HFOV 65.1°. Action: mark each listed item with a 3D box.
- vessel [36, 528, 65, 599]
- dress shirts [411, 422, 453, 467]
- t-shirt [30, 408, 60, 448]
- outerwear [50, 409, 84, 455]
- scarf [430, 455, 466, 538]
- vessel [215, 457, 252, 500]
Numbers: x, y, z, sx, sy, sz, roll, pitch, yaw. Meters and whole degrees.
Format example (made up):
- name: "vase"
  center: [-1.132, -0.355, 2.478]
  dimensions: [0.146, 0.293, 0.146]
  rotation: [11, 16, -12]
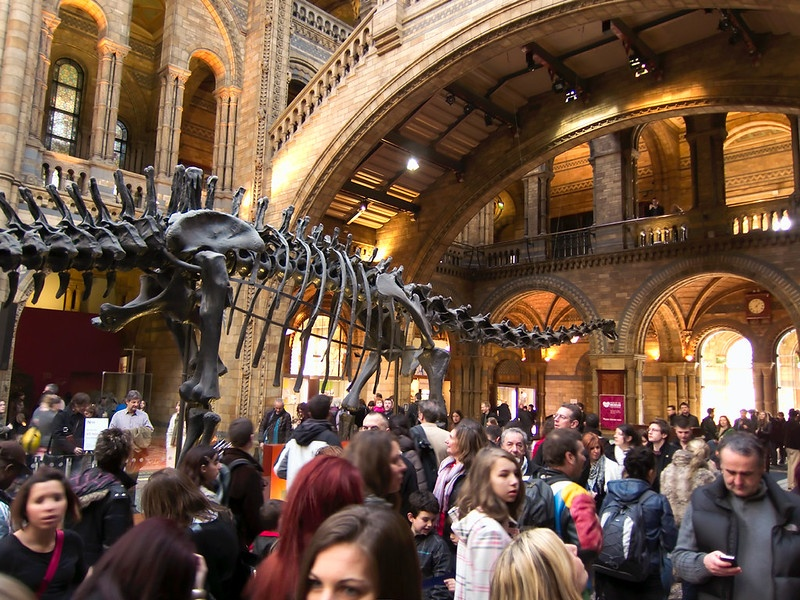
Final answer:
- name: "vessel"
  center: [-1.994, 1.501, 3.612]
  dimensions: [0.161, 0.270, 0.067]
  rotation: [-9, -25, 41]
- name: "dress shirts"
  center: [0.274, 1.263, 5.524]
  dimensions: [0.428, 0.388, 0.231]
  rotation: [-9, 3, -25]
- name: "t-shirt"
  center: [-4.342, 1.566, 7.688]
  dimensions: [0.470, 0.463, 0.274]
  rotation: [1, -12, -6]
- name: "outerwear"
  center: [-4.173, 1.649, 7.838]
  dimensions: [0.327, 0.555, 0.433]
  rotation: [-8, -15, 27]
- name: "scarf"
  center: [0.353, 1.511, 4.857]
  dimensions: [0.201, 0.601, 0.188]
  rotation: [14, 7, 12]
- name: "vessel"
  center: [-1.281, 1.315, 4.601]
  dimensions: [0.191, 0.249, 0.281]
  rotation: [-15, -29, 39]
